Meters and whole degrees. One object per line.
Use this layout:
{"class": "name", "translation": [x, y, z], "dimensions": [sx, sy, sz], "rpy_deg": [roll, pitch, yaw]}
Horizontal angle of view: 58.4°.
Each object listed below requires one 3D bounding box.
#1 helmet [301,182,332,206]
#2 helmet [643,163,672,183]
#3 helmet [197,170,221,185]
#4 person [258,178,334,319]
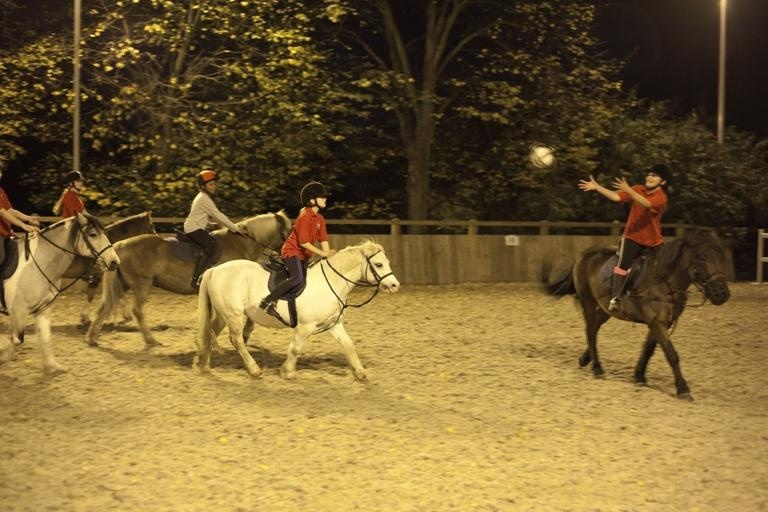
{"class": "helmet", "translation": [-1.210, -1.052, 11.679], "dimensions": [0.386, 0.386, 0.531], "rpy_deg": [3, 13, -3]}
{"class": "helmet", "translation": [4.610, -1.404, 11.643], "dimensions": [0.373, 0.266, 0.398], "rpy_deg": [23, 2, -28]}
{"class": "helmet", "translation": [-3.415, -1.480, 13.152], "dimensions": [0.277, 0.267, 0.340], "rpy_deg": [2, 13, -7]}
{"class": "person", "translation": [-1.457, -0.109, 11.627], "dimensions": [1.093, 2.253, 0.832], "rpy_deg": [3, 16, -4]}
